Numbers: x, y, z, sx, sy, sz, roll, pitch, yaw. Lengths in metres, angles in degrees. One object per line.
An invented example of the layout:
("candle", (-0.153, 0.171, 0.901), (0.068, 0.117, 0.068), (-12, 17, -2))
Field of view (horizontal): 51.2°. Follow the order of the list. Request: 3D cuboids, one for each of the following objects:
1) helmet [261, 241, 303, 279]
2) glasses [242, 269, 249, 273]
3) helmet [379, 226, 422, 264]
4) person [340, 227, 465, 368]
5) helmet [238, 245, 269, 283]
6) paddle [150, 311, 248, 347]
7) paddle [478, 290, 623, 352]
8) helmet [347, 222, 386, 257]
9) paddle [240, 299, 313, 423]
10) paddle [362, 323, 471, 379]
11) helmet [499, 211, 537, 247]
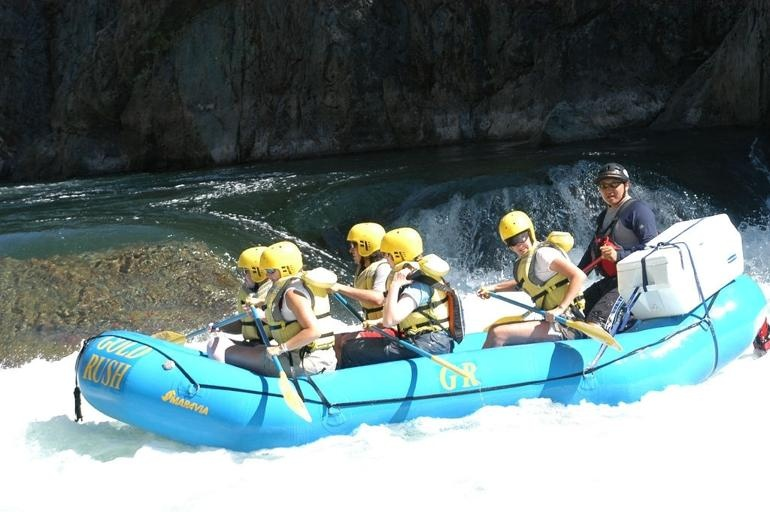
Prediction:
("helmet", (-1.122, 0.041, 8.700), (0.423, 0.356, 0.319), (7, 3, -6))
("glasses", (-1.652, 0.174, 9.452), (0.111, 0.031, 0.114), (-2, -2, -11))
("helmet", (0.207, -0.113, 8.990), (0.428, 0.359, 0.325), (13, 10, 20))
("person", (0.084, 0.450, 9.039), (1.533, 1.432, 1.052), (-5, 4, -7))
("helmet", (-1.486, 0.086, 9.105), (0.387, 0.341, 0.298), (-4, 15, -10))
("paddle", (-2.415, 0.937, 10.218), (1.259, 0.380, 0.184), (-22, -1, 3))
("paddle", (1.926, 0.745, 9.125), (1.949, 0.265, 0.167), (17, 43, 38))
("helmet", (-0.220, -0.188, 9.300), (0.412, 0.342, 0.322), (-11, 13, -1))
("paddle", (-1.075, 1.221, 8.397), (0.369, 0.105, 1.995), (-3, 40, -21))
("paddle", (0.321, 1.042, 8.733), (1.251, 0.069, 0.148), (24, 0, 25))
("helmet", (1.471, -0.322, 9.133), (0.307, 0.360, 0.404), (-26, -35, 19))
